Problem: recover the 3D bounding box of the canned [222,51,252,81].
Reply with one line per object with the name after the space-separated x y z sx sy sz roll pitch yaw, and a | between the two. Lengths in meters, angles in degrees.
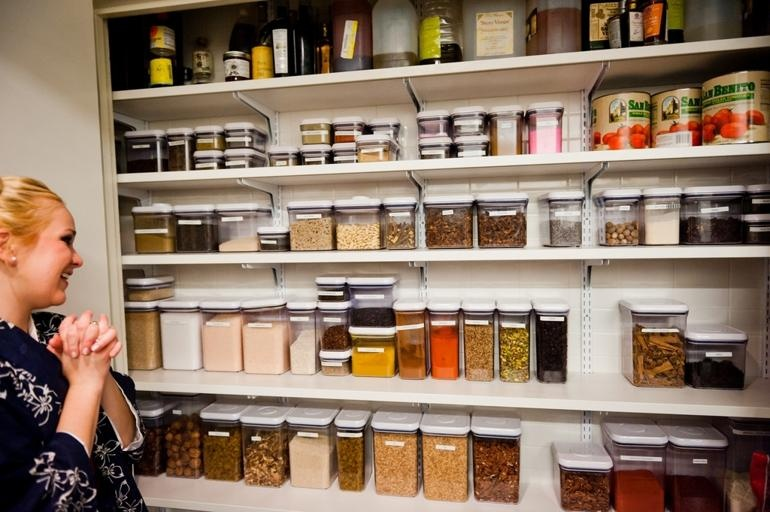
-0.762 -0.963 3.802 0.158 0.141 0.157 0 -1 -31 | canned
